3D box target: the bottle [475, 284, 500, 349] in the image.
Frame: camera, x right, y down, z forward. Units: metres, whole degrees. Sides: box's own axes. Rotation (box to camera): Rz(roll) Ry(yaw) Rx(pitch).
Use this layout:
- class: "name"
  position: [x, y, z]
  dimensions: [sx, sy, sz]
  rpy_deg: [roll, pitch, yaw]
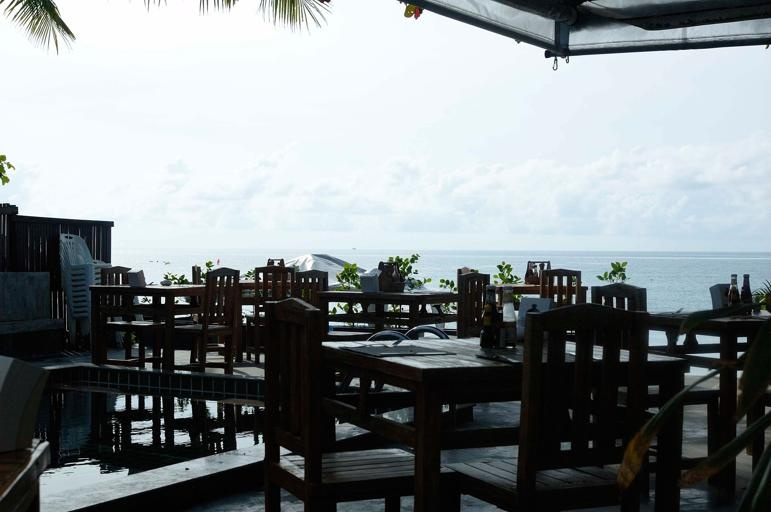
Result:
- class: "bottle"
  position: [0.549, 0.318, 3.493]
  dimensions: [0.104, 0.312, 0.105]
  rpy_deg: [1, -3, 0]

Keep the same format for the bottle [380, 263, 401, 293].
- class: "bottle"
  position: [0.045, 0.246, 7.098]
  dimensions: [0.296, 0.409, 0.150]
  rpy_deg: [2, 5, 7]

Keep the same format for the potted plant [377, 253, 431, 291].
- class: "potted plant"
  position: [0.140, 0.211, 7.404]
  dimensions: [0.502, 0.334, 0.475]
  rpy_deg: [0, -1, -17]

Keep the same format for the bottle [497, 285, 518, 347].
- class: "bottle"
  position: [0.667, 0.330, 3.503]
  dimensions: [0.121, 0.326, 0.119]
  rpy_deg: [-1, -2, 0]

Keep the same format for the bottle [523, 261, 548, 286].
- class: "bottle"
  position: [2.071, 0.210, 9.035]
  dimensions: [0.376, 0.375, 0.375]
  rpy_deg: [0, 2, 8]
